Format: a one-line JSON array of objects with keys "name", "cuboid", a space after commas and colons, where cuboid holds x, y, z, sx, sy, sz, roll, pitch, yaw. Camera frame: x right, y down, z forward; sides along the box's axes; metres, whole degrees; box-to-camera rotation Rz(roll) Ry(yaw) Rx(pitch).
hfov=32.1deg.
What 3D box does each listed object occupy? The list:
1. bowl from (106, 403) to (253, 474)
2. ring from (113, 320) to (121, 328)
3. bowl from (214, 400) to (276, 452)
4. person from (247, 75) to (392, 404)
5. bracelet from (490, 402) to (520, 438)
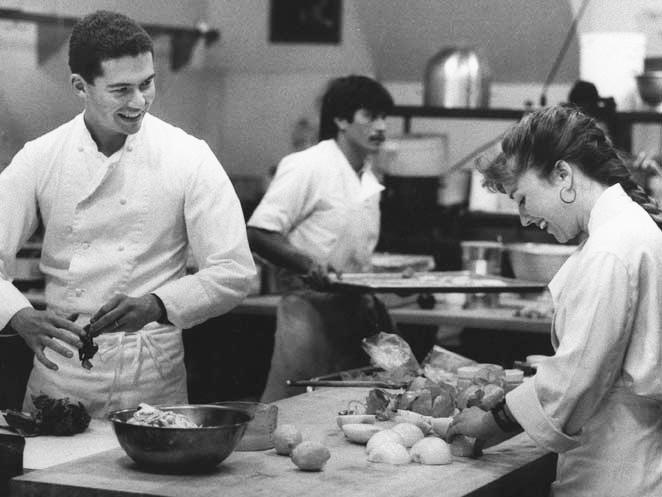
[{"name": "bowl", "cuboid": [-0.343, 0.516, 3.217, 0.305, 0.078, 0.297, 2, 10, 0]}, {"name": "ring", "cuboid": [-0.655, 0.232, 3.514, 0.023, 0.022, 0.012, -4, 11, -28]}, {"name": "bowl", "cuboid": [-0.241, 0.508, 3.350, 0.150, 0.099, 0.148, 0, 1, 0]}, {"name": "person", "cuboid": [-0.042, -0.045, 4.601, 0.594, 1.283, 0.342, 0, 10, -7]}, {"name": "bracelet", "cuboid": [0.491, 0.485, 3.251, 0.072, 0.078, 0.095, 47, 18, 25]}]
